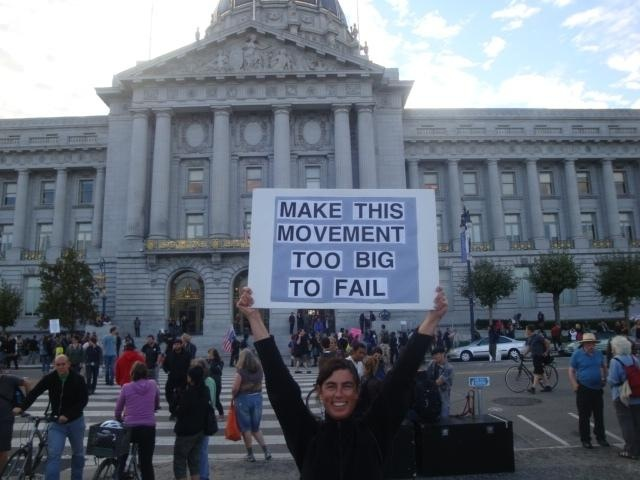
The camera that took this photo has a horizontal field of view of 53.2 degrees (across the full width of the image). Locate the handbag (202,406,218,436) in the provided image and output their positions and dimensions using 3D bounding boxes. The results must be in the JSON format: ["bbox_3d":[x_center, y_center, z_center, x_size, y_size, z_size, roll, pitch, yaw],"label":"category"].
[{"bbox_3d":[-2.552,4.238,14.904,0.283,0.773,0.525,0,-6,-9],"label":"handbag"}]

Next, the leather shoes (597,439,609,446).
[{"bbox_3d":[7.489,5.366,16.786,0.138,0.147,0.343,1,-16,0],"label":"leather shoes"}]

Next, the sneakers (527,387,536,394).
[{"bbox_3d":[7.715,5.483,23.133,0.131,0.249,0.348,14,-11,-36],"label":"sneakers"}]

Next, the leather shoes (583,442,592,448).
[{"bbox_3d":[7.038,5.381,16.692,0.248,0.170,0.219,-2,-6,15],"label":"leather shoes"}]

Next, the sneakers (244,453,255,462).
[{"bbox_3d":[-1.841,5.684,16.588,0.155,0.166,0.390,1,-16,-3],"label":"sneakers"}]

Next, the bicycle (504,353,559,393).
[{"bbox_3d":[8.050,5.013,24.065,2.139,1.320,0.797,-3,-12,-2],"label":"bicycle"}]

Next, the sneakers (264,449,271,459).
[{"bbox_3d":[-1.345,5.593,16.527,0.198,0.216,0.234,0,-28,-7],"label":"sneakers"}]

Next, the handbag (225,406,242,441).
[{"bbox_3d":[-2.247,4.780,16.575,0.374,0.976,0.438,0,-6,-9],"label":"handbag"}]
